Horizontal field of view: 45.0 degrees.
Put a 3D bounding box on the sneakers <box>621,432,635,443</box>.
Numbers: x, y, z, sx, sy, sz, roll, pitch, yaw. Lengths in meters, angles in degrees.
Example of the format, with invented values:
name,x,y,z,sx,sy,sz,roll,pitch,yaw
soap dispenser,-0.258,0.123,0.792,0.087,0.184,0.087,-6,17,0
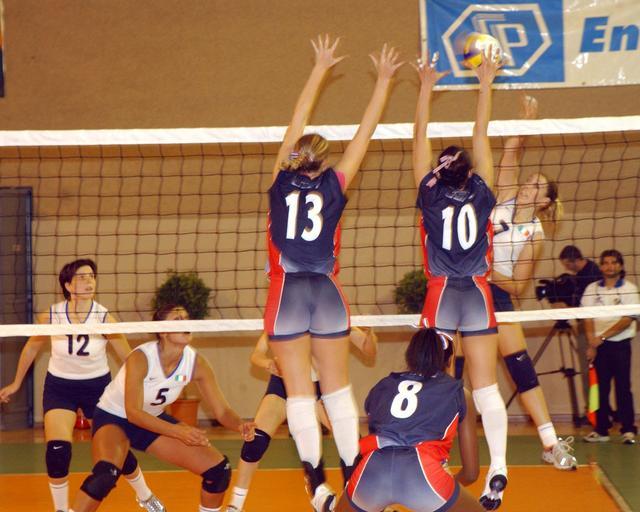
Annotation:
name,x,y,z,sx,sy,sz,roll,pitch,yaw
sneakers,3.231,1.901,8.093,0.127,0.107,0.232,-1,-3,23

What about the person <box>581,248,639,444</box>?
name,x,y,z,sx,sy,sz,roll,pitch,yaw
person,3.084,0.960,8.249,0.565,2.027,0.438,0,-2,20

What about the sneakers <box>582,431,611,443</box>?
name,x,y,z,sx,sy,sz,roll,pitch,yaw
sneakers,2.946,1.934,8.284,0.293,0.151,0.111,4,-6,4

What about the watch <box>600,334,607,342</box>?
name,x,y,z,sx,sy,sz,roll,pitch,yaw
watch,3.009,0.877,8.211,0.044,0.021,0.062,5,-37,2

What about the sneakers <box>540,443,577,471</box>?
name,x,y,z,sx,sy,sz,roll,pitch,yaw
sneakers,1.972,1.635,6.386,0.243,0.258,0.445,0,-3,14
